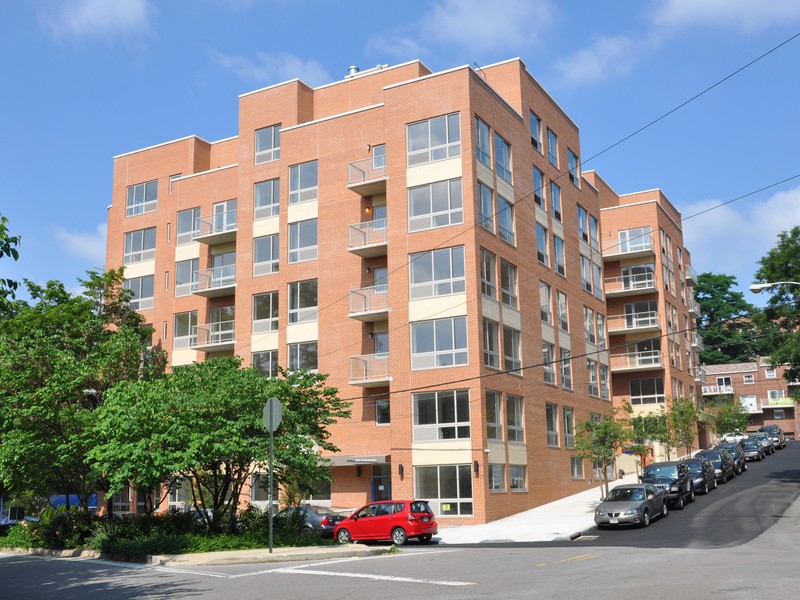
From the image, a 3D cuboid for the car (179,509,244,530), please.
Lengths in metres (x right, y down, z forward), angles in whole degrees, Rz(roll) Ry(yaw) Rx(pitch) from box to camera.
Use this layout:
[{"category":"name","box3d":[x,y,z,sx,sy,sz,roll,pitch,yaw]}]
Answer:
[{"category":"car","box3d":[-7.423,8.317,29.714,1.652,0.666,2.122,0,-3,-7]}]

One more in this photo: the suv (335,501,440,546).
[{"category":"suv","box3d":[-0.441,9.099,32.039,3.272,1.437,2.016,-4,-15,22]}]
